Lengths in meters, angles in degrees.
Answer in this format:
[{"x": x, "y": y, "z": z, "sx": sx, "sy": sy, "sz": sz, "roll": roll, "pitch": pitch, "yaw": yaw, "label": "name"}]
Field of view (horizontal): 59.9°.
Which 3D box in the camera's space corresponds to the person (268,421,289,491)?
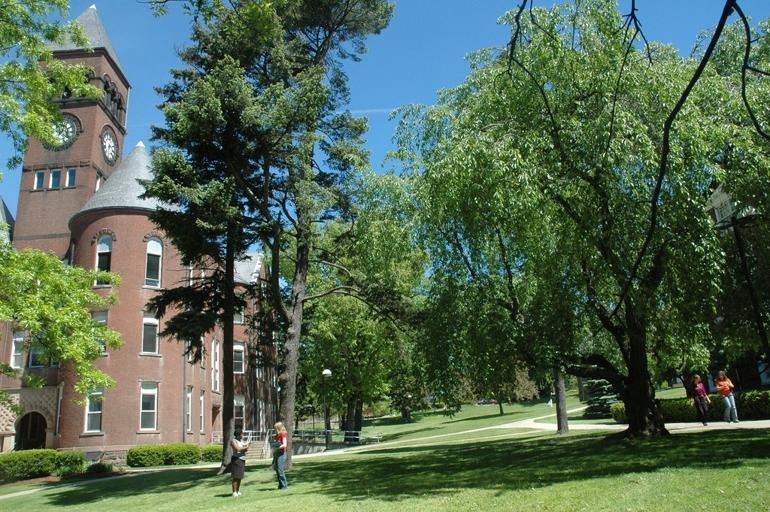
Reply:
[{"x": -3.880, "y": 7.419, "z": 24.914, "sx": 0.473, "sy": 2.452, "sz": 1.333, "roll": -2, "pitch": -19, "yaw": -10, "label": "person"}]
